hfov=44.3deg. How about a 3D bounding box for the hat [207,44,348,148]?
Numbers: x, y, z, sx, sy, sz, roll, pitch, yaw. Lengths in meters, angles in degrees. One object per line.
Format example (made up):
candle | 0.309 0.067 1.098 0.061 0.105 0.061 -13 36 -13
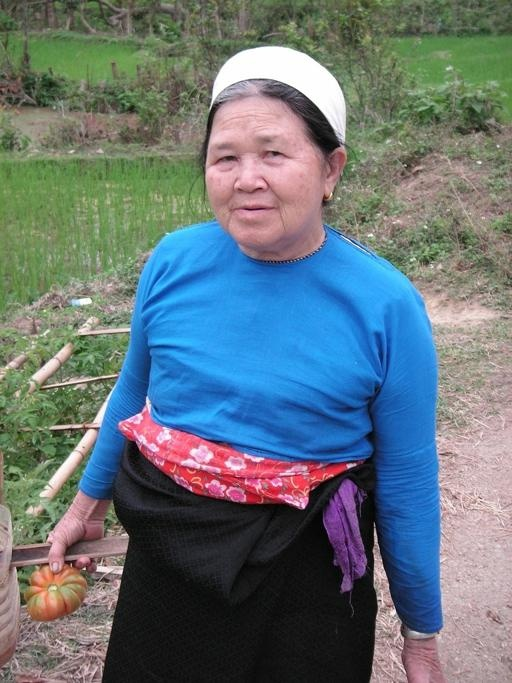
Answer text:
hat | 0.038 -0.432 1.103 0.243 0.178 0.146 -3 16 2

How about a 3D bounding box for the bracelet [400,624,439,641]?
bracelet | 0.331 0.591 1.298 0.044 0.015 0.040 -7 -19 34

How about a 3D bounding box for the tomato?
tomato | -0.488 0.608 1.528 0.150 0.077 0.135 11 30 6
